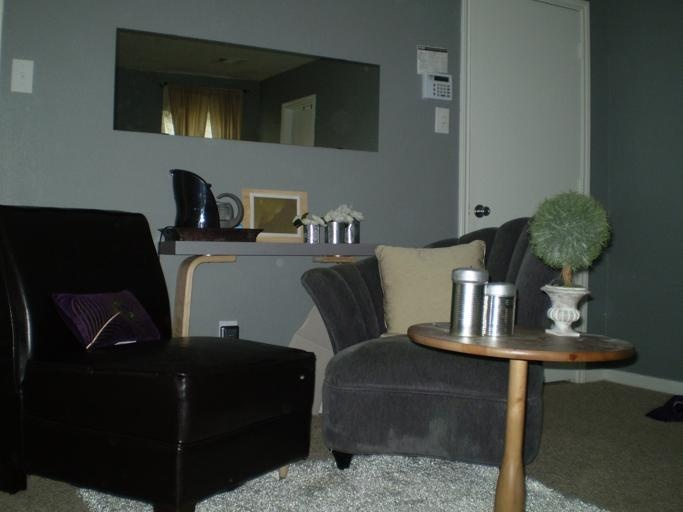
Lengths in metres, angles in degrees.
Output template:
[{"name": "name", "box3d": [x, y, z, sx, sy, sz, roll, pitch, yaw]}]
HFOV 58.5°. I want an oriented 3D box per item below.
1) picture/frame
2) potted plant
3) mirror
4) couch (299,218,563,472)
[{"name": "picture/frame", "box3d": [-0.405, -0.239, 3.597, 0.331, 0.279, 0.015, 2, -10, -27]}, {"name": "potted plant", "box3d": [0.866, 0.021, 2.358, 0.282, 0.539, 0.276, 4, 7, 27]}, {"name": "mirror", "box3d": [-0.507, -0.953, 3.593, 1.571, 0.578, 0.068, -1, 7, -21]}, {"name": "couch", "box3d": [0.545, 0.370, 2.906, 1.125, 1.108, 1.158, -2, 1, 30]}]
